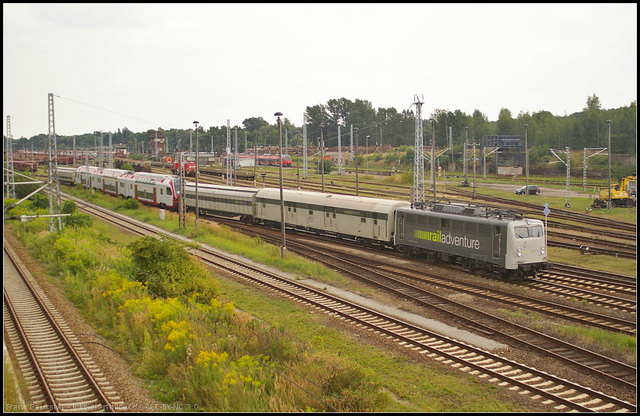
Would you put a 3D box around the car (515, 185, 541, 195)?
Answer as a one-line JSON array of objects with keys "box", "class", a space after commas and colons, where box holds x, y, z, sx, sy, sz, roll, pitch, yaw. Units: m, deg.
[{"box": [28.302, -2.335, 72.728, 2.376, 1.029, 1.395, 1, 3, 2], "class": "car"}]

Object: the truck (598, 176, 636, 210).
[{"box": [33.680, -1.782, 60.152, 4.450, 3.341, 2.279, -2, 13, -19], "class": "truck"}]

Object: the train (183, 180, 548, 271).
[{"box": [-1.824, 0.395, 46.707, 40.676, 3.269, 2.030, 8, 1, 33], "class": "train"}]
